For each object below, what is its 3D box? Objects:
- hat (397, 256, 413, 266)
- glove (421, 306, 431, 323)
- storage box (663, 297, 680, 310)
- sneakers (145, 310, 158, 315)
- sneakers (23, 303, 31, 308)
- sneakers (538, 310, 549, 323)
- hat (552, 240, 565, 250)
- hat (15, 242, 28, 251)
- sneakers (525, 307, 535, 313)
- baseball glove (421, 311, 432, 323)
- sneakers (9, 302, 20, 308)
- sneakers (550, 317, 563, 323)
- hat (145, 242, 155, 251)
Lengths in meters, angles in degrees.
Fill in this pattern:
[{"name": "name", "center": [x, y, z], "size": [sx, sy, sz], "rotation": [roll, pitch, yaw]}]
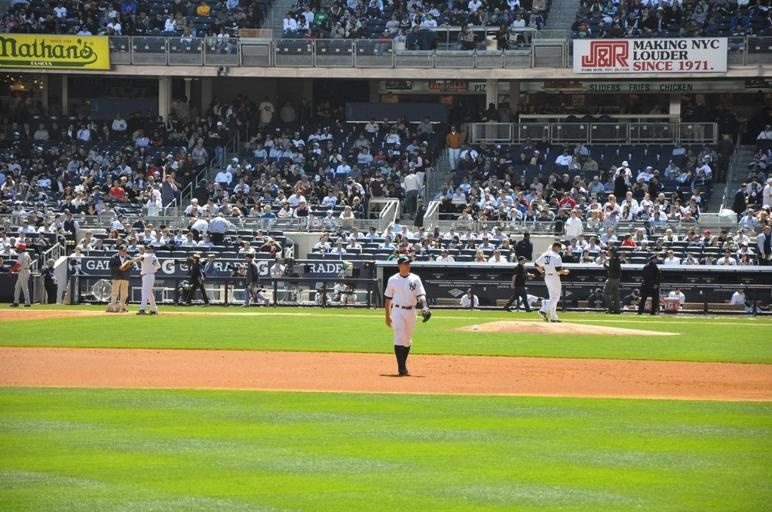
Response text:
[{"name": "hat", "center": [0.680, 0.106, 68.234], "size": [0.332, 0.344, 1.228], "rotation": [0, 3, 8]}, {"name": "glove", "center": [1.424, 1.958, 68.171], "size": [0.394, 0.454, 0.491], "rotation": [10, 32, 12]}, {"name": "storage box", "center": [11.646, 1.905, 79.789], "size": [0.518, 0.342, 0.508], "rotation": [1, 5, 5]}, {"name": "sneakers", "center": [-9.344, 2.216, 78.346], "size": [0.468, 0.196, 0.168], "rotation": [3, 1, 17]}, {"name": "sneakers", "center": [-14.768, 2.000, 80.943], "size": [0.229, 0.216, 0.140], "rotation": [0, 3, -31]}, {"name": "sneakers", "center": [6.196, 2.273, 76.190], "size": [0.267, 0.620, 0.207], "rotation": [-35, 8, -4]}, {"name": "hat", "center": [6.922, -0.464, 78.361], "size": [0.396, 0.387, 0.622], "rotation": [4, -4, 12]}, {"name": "hat", "center": [-15.492, -0.433, 82.818], "size": [0.485, 0.263, 0.339], "rotation": [17, 17, 9]}, {"name": "sneakers", "center": [5.885, 2.166, 79.815], "size": [0.133, 0.158, 0.400], "rotation": [1, -5, 36]}, {"name": "baseball glove", "center": [1.451, 2.063, 68.233], "size": [0.353, 0.399, 0.432], "rotation": [5, -5, -33]}, {"name": "sneakers", "center": [-15.375, 1.985, 81.037], "size": [0.427, 0.167, 0.144], "rotation": [4, 4, 38]}, {"name": "sneakers", "center": [6.627, 2.440, 76.074], "size": [0.455, 0.187, 0.151], "rotation": [1, 4, -41]}, {"name": "hat", "center": [-9.810, -0.429, 81.433], "size": [0.391, 0.360, 0.300], "rotation": [10, -4, 11]}]
